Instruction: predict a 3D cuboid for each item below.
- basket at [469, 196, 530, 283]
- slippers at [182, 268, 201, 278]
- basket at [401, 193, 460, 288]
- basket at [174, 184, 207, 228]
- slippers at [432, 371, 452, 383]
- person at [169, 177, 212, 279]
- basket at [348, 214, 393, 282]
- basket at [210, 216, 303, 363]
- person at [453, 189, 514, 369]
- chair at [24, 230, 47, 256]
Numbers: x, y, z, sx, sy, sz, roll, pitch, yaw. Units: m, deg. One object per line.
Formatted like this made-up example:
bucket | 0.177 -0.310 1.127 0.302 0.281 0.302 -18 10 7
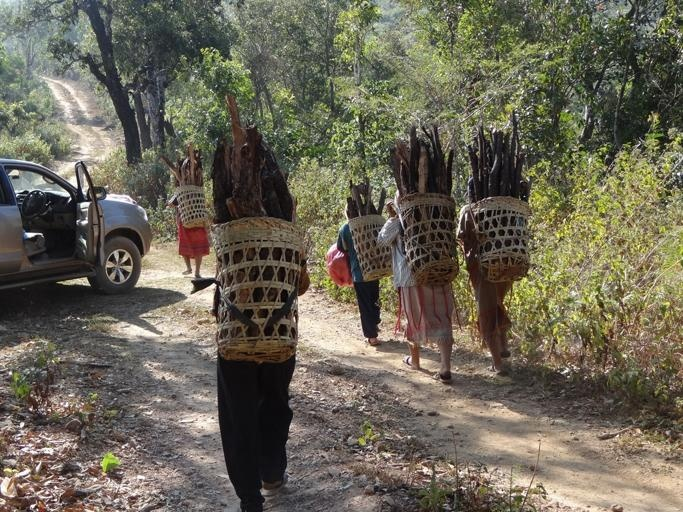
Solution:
basket | 1.788 -0.181 7.408 0.656 0.783 0.707 6 -18 -17
slippers | -2.803 0.315 12.424 0.133 0.181 0.436 1 5 -45
basket | 1.016 -0.192 7.446 0.618 0.884 0.584 -2 -13 -9
basket | -2.549 -0.867 11.338 0.457 0.565 0.453 -6 -6 -3
slippers | 1.200 1.442 7.971 0.090 0.107 0.253 2 0 -26
person | -2.781 -0.561 12.316 0.645 2.025 0.539 3 -23 -26
basket | 0.388 -0.054 8.916 0.496 0.812 0.513 -8 7 43
basket | -0.702 0.301 5.656 0.737 1.103 0.743 0 -10 2
person | 1.727 0.323 7.968 0.579 2.123 0.595 -8 13 -4
chair | -4.396 -0.168 9.529 0.274 0.341 0.544 -4 16 -24
